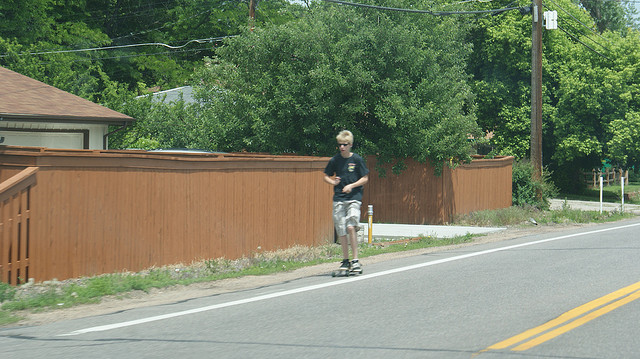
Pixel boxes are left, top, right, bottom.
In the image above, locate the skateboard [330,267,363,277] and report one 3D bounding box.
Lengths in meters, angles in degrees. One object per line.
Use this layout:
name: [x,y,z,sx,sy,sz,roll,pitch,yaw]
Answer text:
skateboard: [0.962,3.388,31.032,1.240,0.433,0.380,-5,1,-2]
